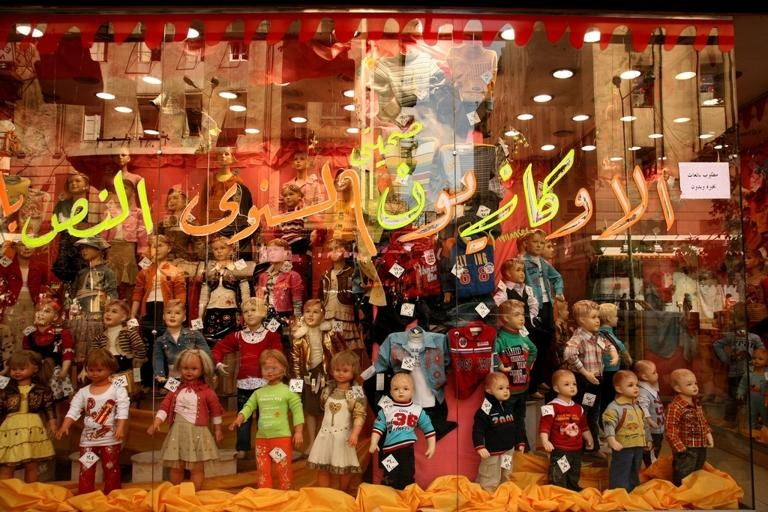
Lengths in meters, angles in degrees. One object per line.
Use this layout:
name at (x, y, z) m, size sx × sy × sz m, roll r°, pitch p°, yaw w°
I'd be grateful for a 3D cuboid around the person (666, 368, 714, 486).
person at (2.389, 1.353, 5.389) m, size 0.367 × 0.870 × 0.102 m, roll 0°, pitch 0°, yaw -12°

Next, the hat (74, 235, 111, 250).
hat at (-2.360, -0.105, 5.526) m, size 0.161 × 0.070 × 0.148 m, roll 2°, pitch -4°, yaw -10°

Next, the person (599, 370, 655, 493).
person at (1.889, 1.379, 5.360) m, size 0.377 × 0.852 × 0.094 m, roll 0°, pitch 0°, yaw -13°

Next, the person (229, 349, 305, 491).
person at (-0.916, 1.331, 5.281) m, size 0.519 × 1.192 × 0.327 m, roll -1°, pitch 8°, yaw -8°

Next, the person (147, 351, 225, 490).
person at (-1.534, 1.277, 5.319) m, size 0.554 × 1.061 × 0.131 m, roll 0°, pitch 0°, yaw 12°

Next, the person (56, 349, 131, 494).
person at (-2.248, 1.294, 5.321) m, size 0.521 × 1.102 × 0.143 m, roll 0°, pitch 0°, yaw 12°
